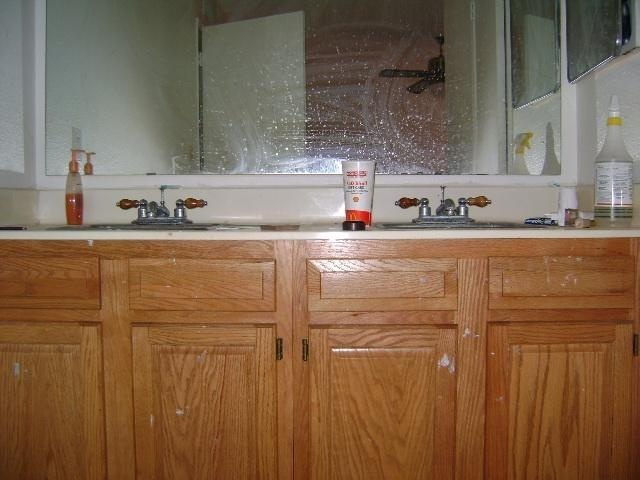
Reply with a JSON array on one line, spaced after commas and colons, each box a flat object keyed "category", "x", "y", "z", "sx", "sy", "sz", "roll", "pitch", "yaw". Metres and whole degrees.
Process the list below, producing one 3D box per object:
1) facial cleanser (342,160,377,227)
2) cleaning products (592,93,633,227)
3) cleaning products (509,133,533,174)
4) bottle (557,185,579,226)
[{"category": "facial cleanser", "x": 0.129, "y": -0.160, "z": 1.937, "sx": 0.099, "sy": 0.223, "sz": 0.100, "roll": 7, "pitch": 6, "yaw": 14}, {"category": "cleaning products", "x": 0.990, "y": -0.266, "z": 1.929, "sx": 0.121, "sy": 0.421, "sz": 0.129, "roll": 6, "pitch": 4, "yaw": -6}, {"category": "cleaning products", "x": 0.790, "y": -0.336, "z": 2.246, "sx": 0.093, "sy": 0.165, "sz": 0.072, "roll": -9, "pitch": 21, "yaw": -5}, {"category": "bottle", "x": 0.853, "y": -0.119, "z": 1.965, "sx": 0.058, "sy": 0.140, "sz": 0.156, "roll": 1, "pitch": 1, "yaw": 22}]
